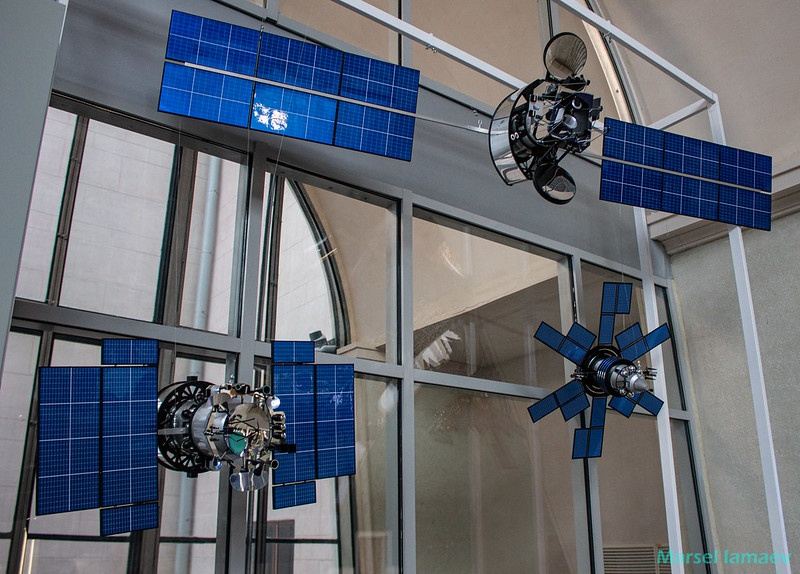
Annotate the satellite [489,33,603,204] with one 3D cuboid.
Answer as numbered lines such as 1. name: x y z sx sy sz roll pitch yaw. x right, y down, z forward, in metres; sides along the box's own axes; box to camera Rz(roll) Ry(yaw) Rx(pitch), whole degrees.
1. satellite: 1.048 -1.159 4.887 0.650 1.194 0.644 4 -1 -19

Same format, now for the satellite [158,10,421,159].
1. satellite: -0.685 -1.374 4.900 1.726 0.820 0.703 8 -22 -19

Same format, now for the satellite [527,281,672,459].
1. satellite: 1.777 0.744 5.753 1.296 1.549 0.706 -1 11 -19

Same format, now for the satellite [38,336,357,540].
1. satellite: -1.156 0.890 4.430 1.895 1.225 0.980 3 -12 -35
